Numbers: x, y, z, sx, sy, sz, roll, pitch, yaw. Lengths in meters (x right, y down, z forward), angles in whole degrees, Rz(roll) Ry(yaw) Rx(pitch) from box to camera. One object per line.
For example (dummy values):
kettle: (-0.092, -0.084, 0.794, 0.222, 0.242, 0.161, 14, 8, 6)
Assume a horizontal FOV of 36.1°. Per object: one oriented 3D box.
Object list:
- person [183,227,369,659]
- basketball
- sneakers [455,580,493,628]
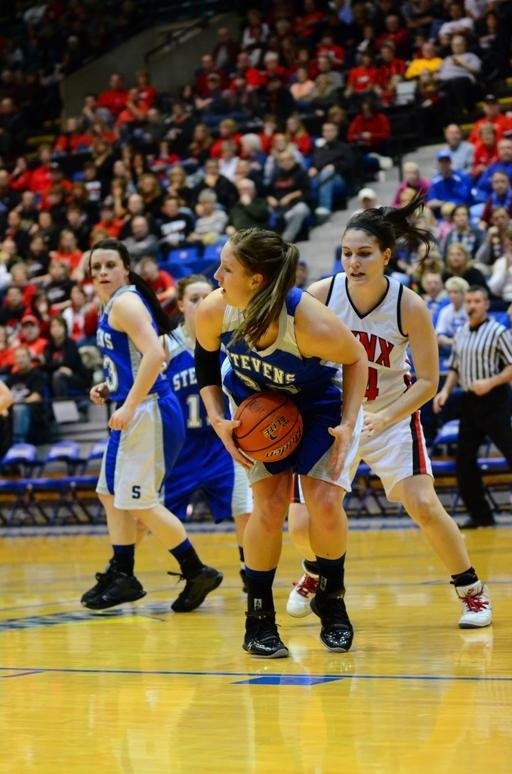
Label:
person: (0.102, 0.245, 2.359, 0.533, 1.404, 0.712, -7, 30, 9)
basketball: (0.006, 0.101, 2.293, 0.211, 0.189, 0.198, 8, 10, 26)
sneakers: (0.745, 0.752, 2.686, 0.106, 0.090, 0.216, -3, 27, 14)
